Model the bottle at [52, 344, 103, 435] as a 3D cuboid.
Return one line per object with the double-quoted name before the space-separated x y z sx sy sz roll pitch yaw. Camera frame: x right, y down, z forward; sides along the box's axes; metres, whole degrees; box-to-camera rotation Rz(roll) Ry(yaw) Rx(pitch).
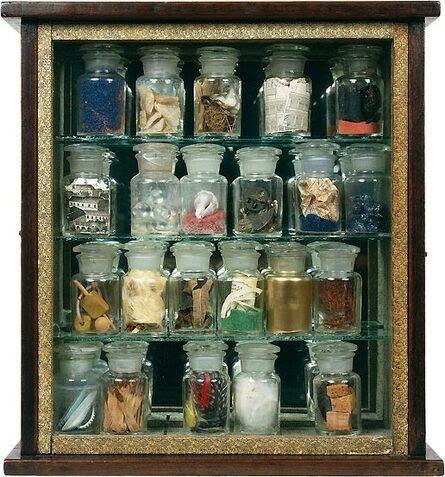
"bottle" -0.635 0.639 2.929 0.250 0.323 0.221 0 -7 6
